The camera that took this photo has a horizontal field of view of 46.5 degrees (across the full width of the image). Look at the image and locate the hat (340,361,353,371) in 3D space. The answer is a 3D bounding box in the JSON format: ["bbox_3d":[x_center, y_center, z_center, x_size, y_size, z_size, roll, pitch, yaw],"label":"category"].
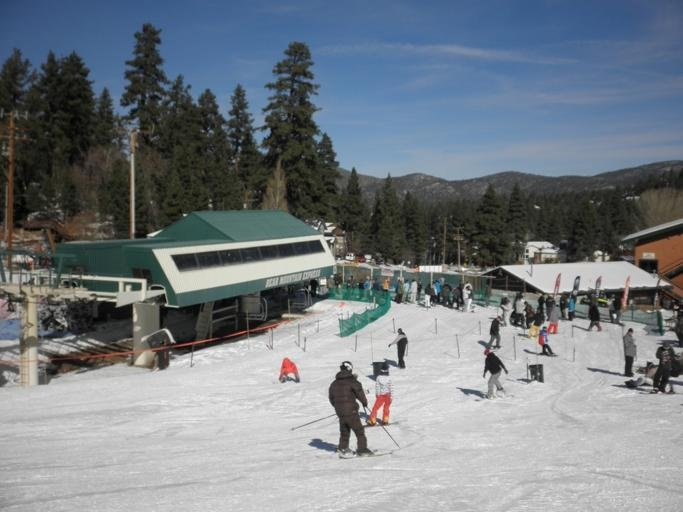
[{"bbox_3d":[0.203,4.386,31.474,0.404,0.398,0.316,-5,7,-31],"label":"hat"}]

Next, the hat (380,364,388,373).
[{"bbox_3d":[1.838,4.781,33.758,0.332,0.369,0.320,-3,2,19],"label":"hat"}]

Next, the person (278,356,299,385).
[{"bbox_3d":[-2.656,5.891,40.797,0.898,1.257,0.564,0,2,1],"label":"person"}]

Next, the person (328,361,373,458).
[{"bbox_3d":[0.343,6.059,31.548,1.481,3.731,1.112,0,9,1],"label":"person"}]

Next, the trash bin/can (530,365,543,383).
[{"bbox_3d":[9.757,5.914,39.937,0.659,1.006,0.797,-1,4,8],"label":"trash bin/can"}]

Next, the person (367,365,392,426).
[{"bbox_3d":[1.708,5.956,34.310,0.892,2.745,0.734,1,16,-9],"label":"person"}]
